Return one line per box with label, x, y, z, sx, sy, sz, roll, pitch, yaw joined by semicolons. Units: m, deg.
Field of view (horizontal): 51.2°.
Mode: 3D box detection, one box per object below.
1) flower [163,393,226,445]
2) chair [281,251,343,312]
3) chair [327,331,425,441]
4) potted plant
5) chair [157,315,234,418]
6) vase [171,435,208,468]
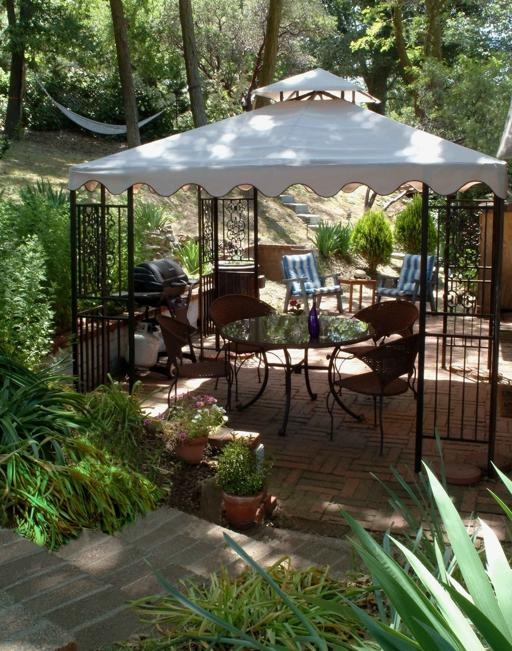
flower;-0.442;0.712;4.292;0.390;0.263;0.395;7;7;31
chair;1.033;-0.789;10.054;0.932;1.048;0.891;-9;13;-35
chair;1.080;0.505;4.833;0.816;0.901;0.759;-4;11;-9
potted plant;-0.079;1.044;3.516;0.361;0.579;0.385;0;12;4
chair;-0.588;0.380;5.386;0.792;0.948;0.717;-1;11;-9
vase;-0.491;0.939;4.033;0.247;0.169;0.234;0;-4;-3
